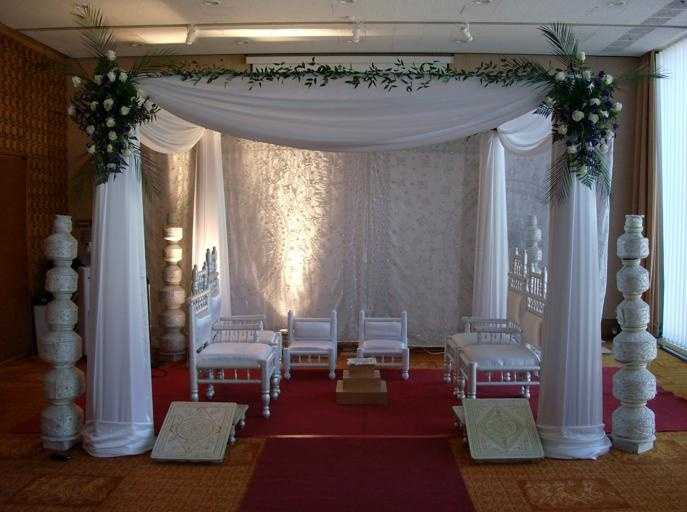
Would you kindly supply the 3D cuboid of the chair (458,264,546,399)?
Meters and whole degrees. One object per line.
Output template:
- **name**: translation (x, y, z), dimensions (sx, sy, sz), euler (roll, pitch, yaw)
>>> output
- **chair**: translation (1.646, 0.804, 5.135), dimensions (0.551, 1.010, 1.364), euler (1, -2, 5)

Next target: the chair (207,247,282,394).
- **chair**: translation (-1.075, 0.791, 5.554), dimensions (0.971, 1.421, 0.947), euler (4, 3, 9)

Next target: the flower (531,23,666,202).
- **flower**: translation (1.826, -1.077, 3.824), dimensions (0.676, 1.311, 0.431), euler (2, 7, 17)

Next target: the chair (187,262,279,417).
- **chair**: translation (-1.188, 0.886, 5.320), dimensions (0.628, 0.955, 1.389), euler (0, 3, -6)

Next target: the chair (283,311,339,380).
- **chair**: translation (-0.377, 1.045, 5.872), dimensions (0.616, 0.641, 0.785), euler (0, -1, -2)

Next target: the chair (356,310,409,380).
- **chair**: translation (0.461, 1.071, 5.857), dimensions (0.709, 0.775, 0.792), euler (1, -5, -8)

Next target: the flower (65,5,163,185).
- **flower**: translation (-2.064, -1.514, 4.407), dimensions (0.633, 1.788, 1.670), euler (-4, 8, -27)
